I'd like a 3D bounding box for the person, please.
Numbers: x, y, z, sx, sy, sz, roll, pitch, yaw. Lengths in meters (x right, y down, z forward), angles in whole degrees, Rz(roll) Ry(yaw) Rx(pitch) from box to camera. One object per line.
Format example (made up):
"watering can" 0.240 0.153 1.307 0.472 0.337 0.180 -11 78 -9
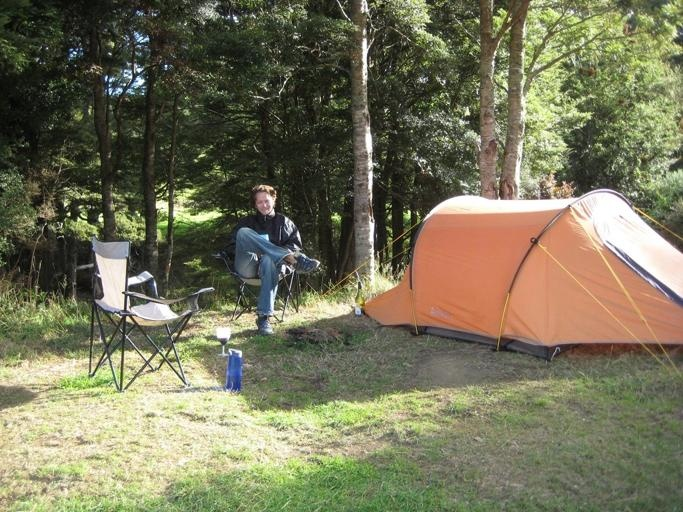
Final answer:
"person" -0.982 0.020 10.451 1.015 2.008 0.929 -1 3 -9

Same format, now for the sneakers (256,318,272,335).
"sneakers" -1.036 0.943 10.190 0.228 0.222 0.211 0 3 1

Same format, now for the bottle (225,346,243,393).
"bottle" -1.207 1.300 8.677 0.167 0.468 0.288 2 4 31

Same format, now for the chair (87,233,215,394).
"chair" -2.233 0.693 9.035 1.061 1.561 1.203 4 -5 -30

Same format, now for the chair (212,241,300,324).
"chair" -1.212 0.329 10.932 1.065 1.266 1.093 -1 13 41
